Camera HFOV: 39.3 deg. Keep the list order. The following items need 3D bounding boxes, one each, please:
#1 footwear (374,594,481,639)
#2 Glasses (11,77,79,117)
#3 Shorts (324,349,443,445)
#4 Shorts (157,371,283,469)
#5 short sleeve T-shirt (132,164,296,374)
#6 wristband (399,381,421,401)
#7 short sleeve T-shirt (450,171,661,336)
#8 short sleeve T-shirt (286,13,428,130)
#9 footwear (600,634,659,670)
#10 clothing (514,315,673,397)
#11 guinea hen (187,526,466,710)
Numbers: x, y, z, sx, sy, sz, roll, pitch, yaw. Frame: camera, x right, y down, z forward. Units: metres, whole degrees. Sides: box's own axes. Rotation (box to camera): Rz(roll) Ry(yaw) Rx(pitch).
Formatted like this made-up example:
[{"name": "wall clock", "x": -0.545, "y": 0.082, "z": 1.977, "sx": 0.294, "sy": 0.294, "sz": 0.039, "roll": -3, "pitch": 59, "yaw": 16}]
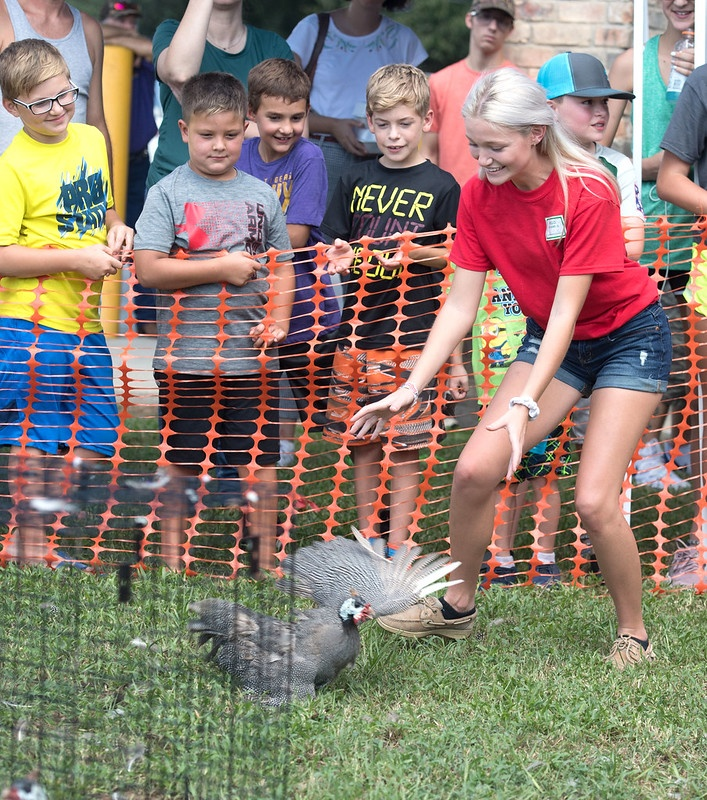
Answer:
[{"name": "footwear", "x": 0.240, "y": 0.739, "z": 3.469, "sx": 0.448, "sy": 0.133, "sz": 0.133, "roll": 6, "pitch": 14, "yaw": -6}, {"name": "Glasses", "x": -1.173, "y": -1.141, "z": 3.728, "sx": 0.199, "sy": 0.046, "sz": 0.190, "roll": 14, "pitch": 36, "yaw": 41}, {"name": "Shorts", "x": 0.105, "y": 0.023, "z": 4.226, "sx": 0.428, "sy": 0.310, "sz": 0.237, "roll": 16, "pitch": -2, "yaw": -37}, {"name": "Shorts", "x": -0.541, "y": 0.013, "z": 4.071, "sx": 0.033, "sy": 0.521, "sz": 0.701, "roll": -18, "pitch": -20, "yaw": 38}, {"name": "short sleeve T-shirt", "x": -0.567, "y": -0.506, "z": 3.920, "sx": 0.602, "sy": 0.806, "sz": 0.413, "roll": 5, "pitch": 25, "yaw": -5}, {"name": "wristband", "x": 0.172, "y": -0.029, "z": 3.130, "sx": 0.078, "sy": 0.039, "sz": 0.064, "roll": -1, "pitch": 14, "yaw": -9}, {"name": "short sleeve T-shirt", "x": 0.683, "y": -0.498, "z": 3.203, "sx": 0.439, "sy": 0.500, "sz": 0.668, "roll": -31, "pitch": 31, "yaw": -34}, {"name": "short sleeve T-shirt", "x": 0.018, "y": -1.908, "z": 5.677, "sx": 0.797, "sy": 0.546, "sz": 0.311, "roll": -4, "pitch": 39, "yaw": -11}, {"name": "footwear", "x": 0.905, "y": 0.822, "z": 3.228, "sx": 0.085, "sy": 0.068, "sz": 0.204, "roll": 0, "pitch": 1, "yaw": 40}, {"name": "clothing", "x": 0.823, "y": -0.197, "z": 3.320, "sx": 0.570, "sy": 0.245, "sz": 0.299, "roll": 12, "pitch": 44, "yaw": 42}, {"name": "guinea hen", "x": -0.131, "y": 0.622, "z": 2.884, "sx": 0.478, "sy": 0.553, "sz": 0.724, "roll": 25, "pitch": 28, "yaw": 35}]
